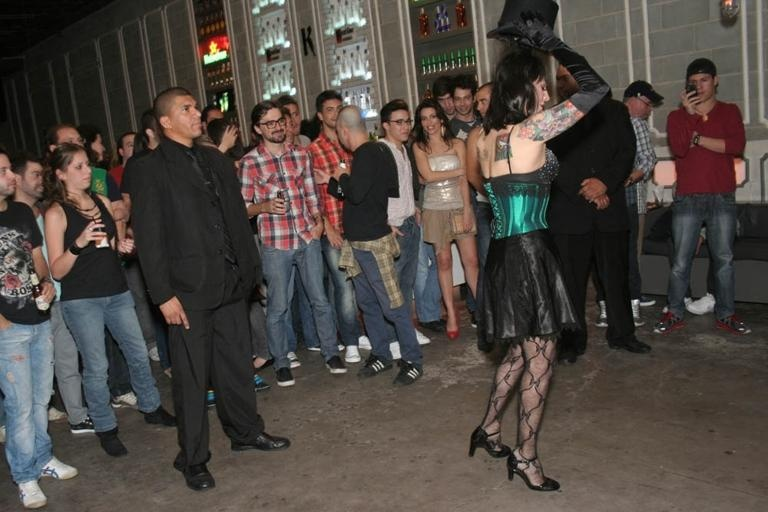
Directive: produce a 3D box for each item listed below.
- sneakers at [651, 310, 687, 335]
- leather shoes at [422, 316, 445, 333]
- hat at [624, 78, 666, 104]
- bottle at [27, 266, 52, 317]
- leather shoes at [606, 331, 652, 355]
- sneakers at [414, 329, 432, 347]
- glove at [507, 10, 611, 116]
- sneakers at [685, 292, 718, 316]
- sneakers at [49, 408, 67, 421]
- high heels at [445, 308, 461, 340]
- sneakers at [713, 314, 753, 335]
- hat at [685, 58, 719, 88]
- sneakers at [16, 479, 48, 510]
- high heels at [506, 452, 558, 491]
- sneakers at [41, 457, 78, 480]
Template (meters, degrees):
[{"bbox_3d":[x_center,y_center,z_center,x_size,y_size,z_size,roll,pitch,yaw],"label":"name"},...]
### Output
[{"bbox_3d":[2.632,0.614,5.436,0.347,0.156,0.160,-10,21,-17],"label":"sneakers"},{"bbox_3d":[0.529,0.735,5.984,0.262,0.099,0.104,-1,2,22],"label":"leather shoes"},{"bbox_3d":[2.539,-1.614,5.775,0.414,0.242,0.286,4,24,17],"label":"hat"},{"bbox_3d":[-2.215,0.246,3.764,0.075,0.199,0.123,-13,9,-33],"label":"bottle"},{"bbox_3d":[2.113,0.741,5.047,0.425,0.273,0.141,-4,15,27],"label":"leather shoes"},{"bbox_3d":[0.400,0.806,5.702,0.297,0.122,0.109,6,11,40],"label":"sneakers"},{"bbox_3d":[0.946,-1.153,3.303,0.563,0.721,0.270,-6,8,12],"label":"glove"},{"bbox_3d":[3.153,0.487,5.773,0.240,0.104,0.183,-8,14,16],"label":"sneakers"},{"bbox_3d":[-2.713,1.349,4.931,0.201,0.082,0.071,1,5,16],"label":"sneakers"},{"bbox_3d":[0.671,0.677,5.713,0.103,0.292,0.090,-6,-15,15],"label":"high heels"},{"bbox_3d":[3.129,0.623,5.209,0.121,0.113,0.255,-8,8,-30],"label":"sneakers"},{"bbox_3d":[2.860,-1.676,5.211,0.246,0.182,0.241,4,1,-35],"label":"hat"},{"bbox_3d":[-2.257,1.552,3.767,0.101,0.105,0.275,-5,5,-43],"label":"sneakers"},{"bbox_3d":[0.838,1.268,3.510,0.402,0.208,0.150,6,11,13],"label":"high heels"},{"bbox_3d":[-2.231,1.499,4.085,0.264,0.107,0.115,2,7,-1],"label":"sneakers"}]
